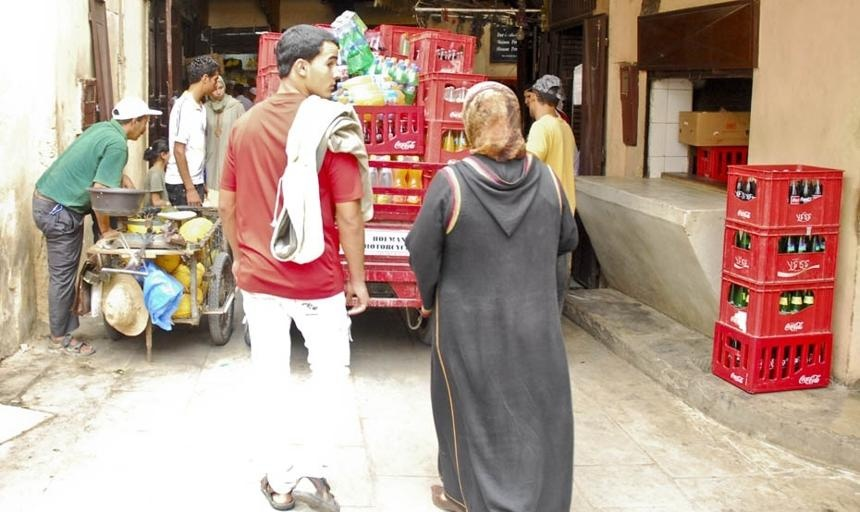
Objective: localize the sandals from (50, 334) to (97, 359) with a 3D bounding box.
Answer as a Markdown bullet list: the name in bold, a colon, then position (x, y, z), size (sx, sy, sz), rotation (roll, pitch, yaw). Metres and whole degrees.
- **sandals**: position (-3.744, 0.957, 6.704), size (0.414, 0.172, 0.231), rotation (4, 9, 2)

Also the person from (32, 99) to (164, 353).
- **person**: position (-3.596, -0.243, 6.834), size (1.143, 2.684, 1.427), rotation (1, -2, -18)

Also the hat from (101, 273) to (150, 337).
- **hat**: position (-3.102, 0.504, 6.474), size (0.498, 0.645, 0.148), rotation (1, 11, 9)

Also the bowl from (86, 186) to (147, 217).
- **bowl**: position (-3.065, -0.517, 6.334), size (0.553, 0.305, 0.276), rotation (1, 10, 11)

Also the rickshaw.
- **rickshaw**: position (-2.783, 0.220, 6.571), size (0.995, 1.517, 2.433), rotation (2, -1, -39)

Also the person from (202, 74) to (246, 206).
- **person**: position (-2.906, -1.603, 8.852), size (0.631, 1.482, 0.351), rotation (0, 3, 2)
